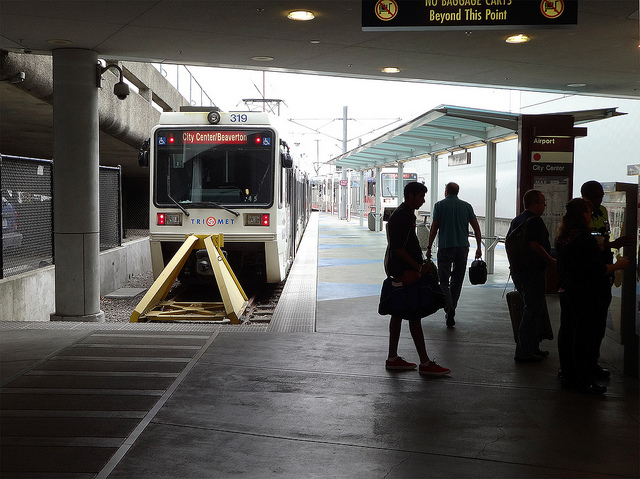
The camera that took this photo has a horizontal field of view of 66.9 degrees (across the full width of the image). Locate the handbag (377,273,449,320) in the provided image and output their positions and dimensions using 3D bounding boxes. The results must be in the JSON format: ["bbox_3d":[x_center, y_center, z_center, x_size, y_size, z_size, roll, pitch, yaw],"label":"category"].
[{"bbox_3d":[1.021,0.658,5.403,0.856,0.585,0.476,-6,-12,8],"label":"handbag"}]

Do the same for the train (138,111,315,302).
[{"bbox_3d":[-1.803,-0.718,10.897,2.489,4.136,3.716,2,5,23],"label":"train"}]

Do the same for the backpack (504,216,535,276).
[{"bbox_3d":[2.400,0.086,5.809,0.154,0.717,0.466,-1,4,-14],"label":"backpack"}]

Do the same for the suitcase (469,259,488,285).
[{"bbox_3d":[2.424,0.514,7.392,0.233,0.425,0.458,2,5,23],"label":"suitcase"}]

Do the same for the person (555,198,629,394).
[{"bbox_3d":[2.747,0.578,5.028,0.579,1.986,0.370,3,5,32],"label":"person"}]

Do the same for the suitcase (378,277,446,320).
[{"bbox_3d":[1.050,0.636,5.572,0.775,0.455,0.422,-6,-10,0],"label":"suitcase"}]
